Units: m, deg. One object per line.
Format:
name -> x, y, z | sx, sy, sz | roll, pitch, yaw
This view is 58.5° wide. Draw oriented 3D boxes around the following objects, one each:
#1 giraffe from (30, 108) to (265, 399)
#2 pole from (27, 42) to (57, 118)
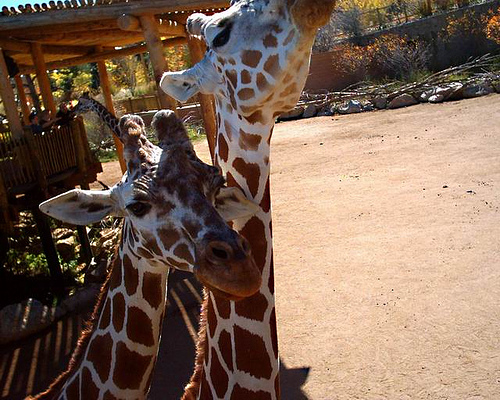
giraffe -> -0.576, 0.358, 2.480 | 1.379, 1.595, 0.473 | -7, 12, 18
pole -> -4.827, -2.824, 10.379 | 0.239, 1.564, 0.698 | -14, 12, -20
